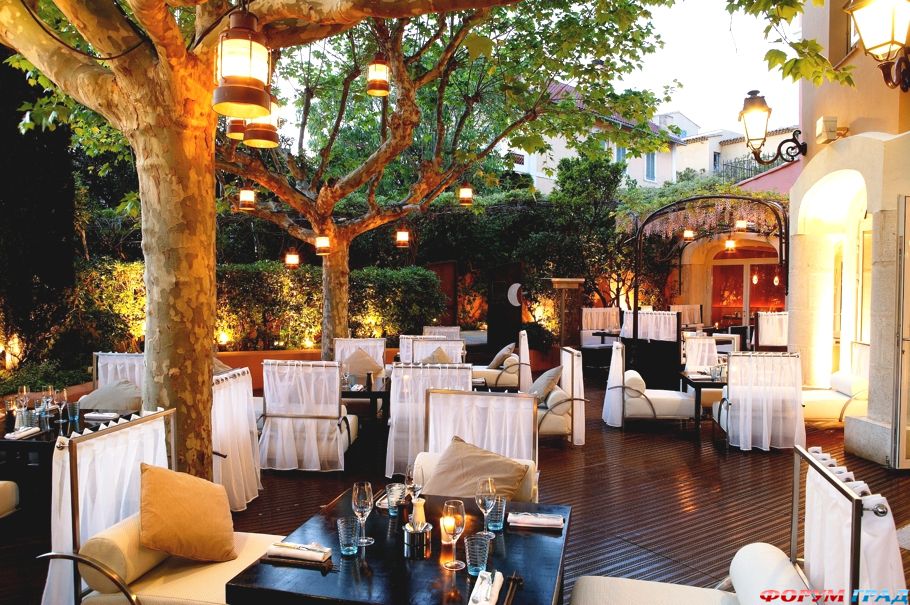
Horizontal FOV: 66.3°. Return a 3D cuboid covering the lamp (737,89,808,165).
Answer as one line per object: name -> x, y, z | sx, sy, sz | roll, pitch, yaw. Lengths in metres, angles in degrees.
lamp -> 4.208, -2.351, 9.240 | 0.791, 1.061, 0.393 | 0, -8, 0

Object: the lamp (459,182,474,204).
lamp -> 0.124, -1.765, 11.263 | 0.276, 0.407, 0.287 | -1, 3, -14

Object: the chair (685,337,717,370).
chair -> 4.328, 0.907, 12.512 | 0.650, 0.701, 0.508 | -1, -2, 14

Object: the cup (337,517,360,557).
cup -> -0.823, 1.817, 5.425 | 0.213, 0.305, 0.242 | -1, -2, 5

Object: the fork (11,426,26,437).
fork -> -4.623, 1.371, 7.398 | 0.069, 0.093, 0.206 | 3, -6, -39

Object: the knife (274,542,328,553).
knife -> -1.188, 1.888, 5.412 | 0.440, 0.058, 0.140 | 3, -3, 9

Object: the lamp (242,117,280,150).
lamp -> -1.712, -1.467, 6.139 | 0.257, 0.178, 0.274 | 0, -6, 4

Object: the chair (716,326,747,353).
chair -> 6.630, 0.887, 16.786 | 0.538, 0.581, 0.405 | 1, 4, 40

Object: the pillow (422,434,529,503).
pillow -> 0.164, 1.561, 6.509 | 0.609, 0.202, 0.602 | -11, -3, -23

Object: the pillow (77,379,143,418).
pillow -> -4.186, 1.183, 8.517 | 0.616, 0.203, 0.558 | -10, 21, -15

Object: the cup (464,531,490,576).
cup -> 0.191, 1.931, 5.294 | 0.245, 0.300, 0.267 | 4, -18, 1

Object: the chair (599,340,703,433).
chair -> 3.193, 1.340, 11.662 | 1.261, 1.319, 1.384 | -1, 0, 3

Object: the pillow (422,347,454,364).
pillow -> -0.303, 0.925, 11.570 | 0.318, 0.327, 0.100 | -6, -13, 37

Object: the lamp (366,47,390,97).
lamp -> -0.968, -2.941, 8.988 | 0.351, 0.634, 0.375 | 4, -6, -9

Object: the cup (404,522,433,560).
cup -> -0.286, 1.867, 5.451 | 0.213, 0.152, 0.223 | 0, 2, 0

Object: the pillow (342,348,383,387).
pillow -> -1.442, 1.011, 10.868 | 0.525, 0.354, 0.553 | 0, -2, -5

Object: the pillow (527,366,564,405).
pillow -> 1.334, 1.210, 10.170 | 0.439, 0.525, 0.769 | 2, 10, 8

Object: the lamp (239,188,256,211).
lamp -> -3.492, -1.743, 11.794 | 0.304, 0.387, 0.318 | -1, 4, -9

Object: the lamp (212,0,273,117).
lamp -> -1.579, -1.765, 5.116 | 0.410, 0.766, 0.349 | -3, 11, -16

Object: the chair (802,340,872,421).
chair -> 6.293, 1.334, 11.469 | 1.098, 1.191, 1.197 | -2, 2, 3

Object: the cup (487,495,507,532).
cup -> 0.339, 1.731, 5.735 | 0.212, 0.260, 0.223 | -2, 0, 0

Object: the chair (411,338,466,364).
chair -> -0.303, 0.837, 12.246 | 0.540, 0.375, 0.566 | 2, 1, 20

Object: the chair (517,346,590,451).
chair -> 1.382, 1.423, 10.327 | 0.917, 1.225, 0.805 | -2, 5, -11

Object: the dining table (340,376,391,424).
dining table -> -1.245, 1.375, 9.983 | 0.634, 0.452, 0.958 | 0, 0, 6

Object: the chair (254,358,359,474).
chair -> -2.011, 1.389, 9.620 | 1.181, 1.513, 1.533 | 5, 12, 6

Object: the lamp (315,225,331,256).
lamp -> -2.363, -1.088, 12.464 | 0.251, 0.484, 0.680 | -2, 10, -11

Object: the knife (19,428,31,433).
knife -> -4.570, 1.364, 7.416 | 0.059, 0.021, 0.056 | 3, 13, 35

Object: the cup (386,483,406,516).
cup -> -0.495, 1.647, 5.817 | 0.215, 0.251, 0.213 | 1, 0, 0

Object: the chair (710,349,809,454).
chair -> 4.585, 1.309, 10.651 | 1.113, 1.550, 1.429 | -5, 17, 3

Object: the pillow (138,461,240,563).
pillow -> -2.244, 1.798, 5.825 | 0.408, 0.759, 0.888 | -24, -34, 37
